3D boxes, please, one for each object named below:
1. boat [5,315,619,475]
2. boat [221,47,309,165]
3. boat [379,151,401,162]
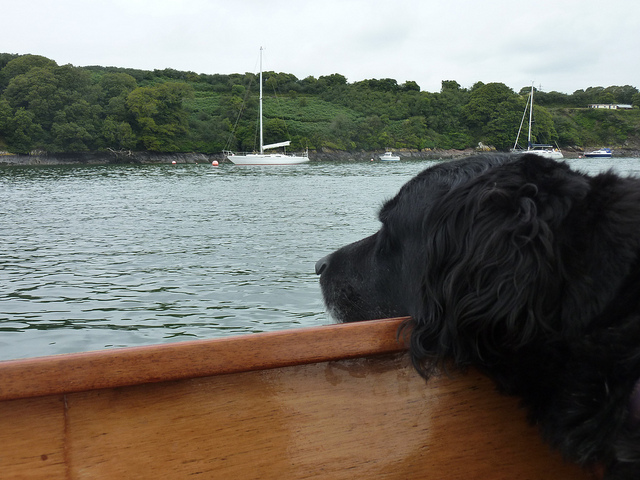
[{"bbox_3d":[0.028,0.429,1.358,1.864,0.491,0.058,-1,-1,-12],"label":"boat"},{"bbox_3d":[-6.250,-14.512,57.824,11.752,12.775,3.151,-9,22,-33],"label":"boat"},{"bbox_3d":[8.831,-10.475,65.339,1.554,1.533,3.953,6,12,40],"label":"boat"}]
